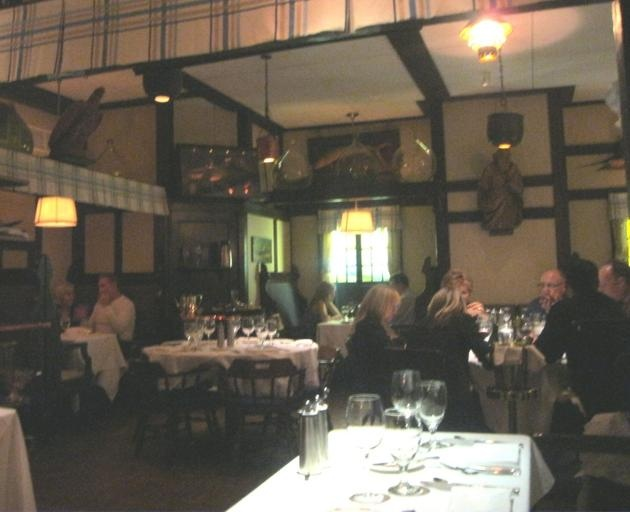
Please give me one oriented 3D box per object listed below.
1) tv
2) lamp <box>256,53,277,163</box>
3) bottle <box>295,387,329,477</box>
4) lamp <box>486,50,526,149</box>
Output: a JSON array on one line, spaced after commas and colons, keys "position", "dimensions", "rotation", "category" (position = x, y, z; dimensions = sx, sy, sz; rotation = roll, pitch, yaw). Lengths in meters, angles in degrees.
[{"position": [-0.511, -0.462, 3.863], "dimensions": [0.444, 0.268, 0.297], "rotation": [2, 7, 1], "category": "tv"}, {"position": [-0.250, -0.760, 3.777], "dimensions": [0.101, 0.551, 0.187], "rotation": [-2, 7, -4], "category": "lamp"}, {"position": [-0.006, 0.645, 2.640], "dimensions": [0.111, 0.241, 0.225], "rotation": [-1, 7, 0], "category": "bottle"}, {"position": [0.864, -0.703, 3.285], "dimensions": [0.159, 0.443, 0.103], "rotation": [2, 7, 25], "category": "lamp"}]
